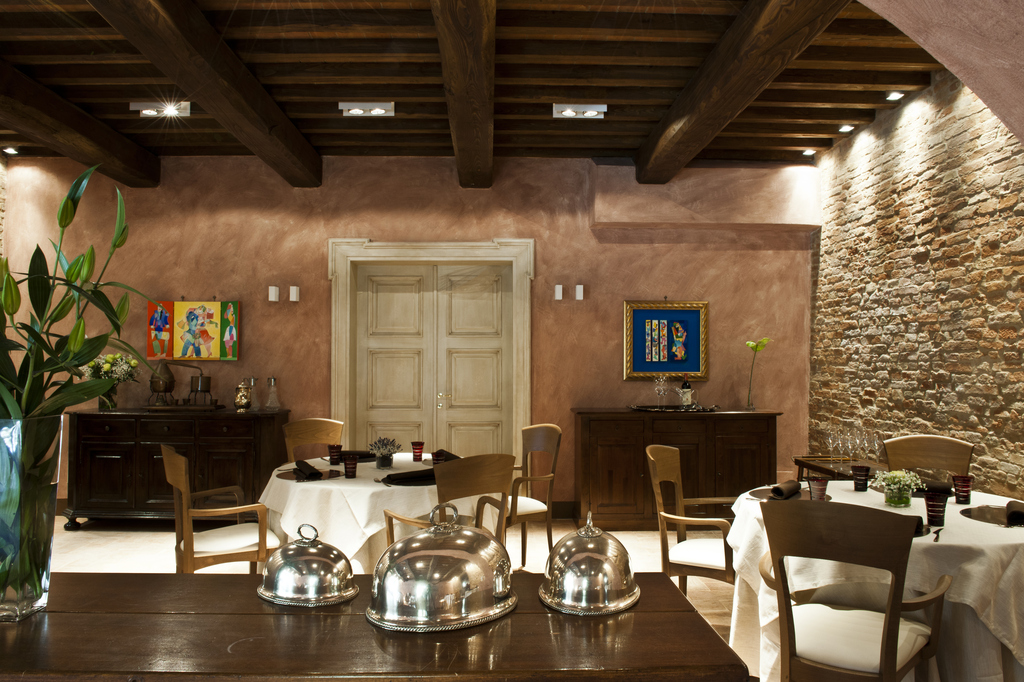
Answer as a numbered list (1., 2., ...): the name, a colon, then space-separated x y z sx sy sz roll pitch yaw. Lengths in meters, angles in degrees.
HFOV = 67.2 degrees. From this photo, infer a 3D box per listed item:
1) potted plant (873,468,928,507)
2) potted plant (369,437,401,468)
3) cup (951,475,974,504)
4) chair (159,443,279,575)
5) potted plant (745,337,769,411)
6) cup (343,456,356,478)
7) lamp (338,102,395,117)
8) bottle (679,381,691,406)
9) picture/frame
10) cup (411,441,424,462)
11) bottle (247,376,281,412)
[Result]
1. potted plant: 2.101 0.759 4.172 0.223 0.161 0.209 0 0 19
2. potted plant: -0.863 0.754 5.243 0.203 0.195 0.199 2 -8 -13
3. cup: 2.513 0.814 4.258 0.136 0.183 0.137 1 0 0
4. chair: -1.843 1.204 4.962 0.757 0.998 0.718 3 0 -17
5. potted plant: 2.283 0.290 7.241 0.191 0.660 0.297 3 6 17
6. cup: -1.034 0.803 4.922 0.102 0.144 0.103 -2 -8 0
7. lamp: -1.126 -1.807 5.998 0.447 0.082 0.194 2 4 5
8. bottle: 1.625 0.473 7.169 0.125 0.216 0.309 3 5 13
9. picture/frame: 1.419 0.001 7.277 0.804 0.724 0.060 0 -2 -1
10. cup: -0.671 0.775 5.466 0.135 0.143 0.132 -1 -2 0
11. bottle: -2.284 0.480 7.099 0.321 0.288 0.145 0 -2 5
